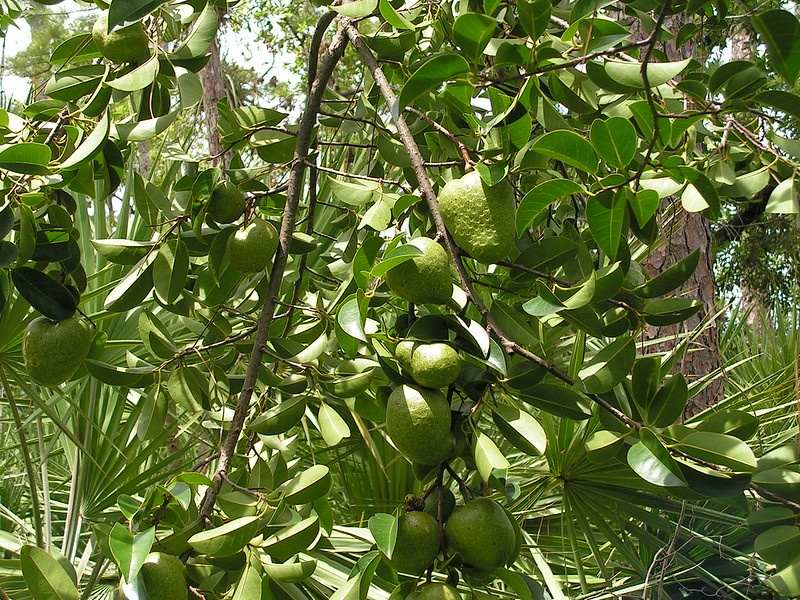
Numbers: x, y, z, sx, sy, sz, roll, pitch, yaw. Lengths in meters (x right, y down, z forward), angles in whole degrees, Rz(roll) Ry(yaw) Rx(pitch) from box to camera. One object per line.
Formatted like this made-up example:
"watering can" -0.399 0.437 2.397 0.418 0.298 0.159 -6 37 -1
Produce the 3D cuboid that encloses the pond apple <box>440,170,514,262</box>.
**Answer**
"pond apple" 0.129 -0.142 1.289 0.136 0.120 0.116 8 39 5

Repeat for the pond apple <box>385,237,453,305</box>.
"pond apple" 0.040 -0.036 1.293 0.101 0.100 0.099 46 74 -9

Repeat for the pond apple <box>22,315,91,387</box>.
"pond apple" -0.666 0.099 1.470 0.114 0.146 0.118 5 8 -21

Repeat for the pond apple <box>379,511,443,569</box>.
"pond apple" 0.020 0.395 1.281 0.077 0.086 0.106 9 55 -21

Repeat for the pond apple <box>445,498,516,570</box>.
"pond apple" 0.127 0.378 1.225 0.077 0.114 0.096 10 66 -10
